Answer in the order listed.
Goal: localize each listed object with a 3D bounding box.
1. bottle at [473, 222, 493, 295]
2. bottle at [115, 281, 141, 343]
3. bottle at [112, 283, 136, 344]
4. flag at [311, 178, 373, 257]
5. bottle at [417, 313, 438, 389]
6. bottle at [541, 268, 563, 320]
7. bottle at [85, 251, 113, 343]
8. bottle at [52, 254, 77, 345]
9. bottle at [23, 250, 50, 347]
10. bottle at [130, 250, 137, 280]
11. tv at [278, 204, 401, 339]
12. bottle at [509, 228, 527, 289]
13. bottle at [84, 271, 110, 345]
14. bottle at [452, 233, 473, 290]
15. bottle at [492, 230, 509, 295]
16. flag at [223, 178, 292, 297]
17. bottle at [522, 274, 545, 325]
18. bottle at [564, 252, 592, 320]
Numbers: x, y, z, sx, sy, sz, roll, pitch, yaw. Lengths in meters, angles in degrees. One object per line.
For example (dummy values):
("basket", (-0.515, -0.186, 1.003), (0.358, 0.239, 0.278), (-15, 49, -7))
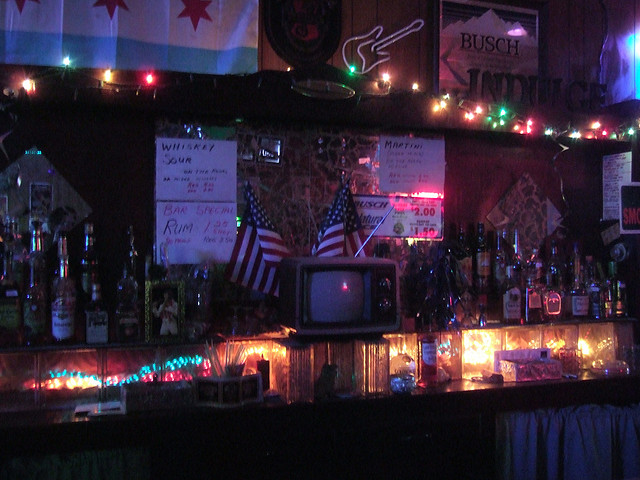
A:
("bottle", (0.937, 0.109, 5.001), (0.184, 0.401, 0.105), (5, -7, -44))
("bottle", (-0.988, 0.397, 4.543), (0.121, 0.402, 0.135), (6, -30, -24))
("bottle", (-0.994, 0.371, 4.491), (0.112, 0.310, 0.082), (0, -5, 7))
("flag", (0.120, -0.082, 4.769), (0.303, 0.568, 0.053), (3, 22, 6))
("bottle", (0.577, 0.642, 4.709), (0.113, 0.278, 0.086), (1, -5, -2))
("bottle", (1.329, 0.339, 5.026), (0.111, 0.366, 0.118), (4, -35, 3))
("bottle", (-1.133, 0.285, 4.516), (0.142, 0.475, 0.158), (2, -5, -18))
("bottle", (-1.300, 0.301, 4.487), (0.132, 0.454, 0.104), (3, -5, -25))
("bottle", (-1.431, 0.292, 4.453), (0.137, 0.491, 0.116), (3, -5, -32))
("bottle", (-0.984, 0.125, 4.634), (0.040, 0.155, 0.028), (2, -5, -19))
("tv", (0.103, 0.170, 4.556), (0.448, 0.835, 0.380), (1, -4, -12))
("bottle", (1.125, 0.097, 5.054), (0.088, 0.355, 0.203), (-1, -5, 22))
("bottle", (-1.134, 0.373, 4.472), (0.127, 0.310, 0.085), (1, -5, -7))
("bottle", (0.797, 0.119, 4.940), (0.137, 0.329, 0.118), (1, -5, -7))
("bottle", (1.018, 0.118, 5.019), (0.073, 0.374, 0.131), (0, -5, 12))
("flag", (-0.279, -0.039, 4.618), (0.437, 0.151, 0.765), (0, -52, -3))
("bottle", (1.210, 0.299, 4.972), (0.094, 0.095, 0.304), (1, -54, 19))
("bottle", (1.488, 0.265, 5.072), (0.212, 0.384, 0.127), (6, -7, -44))
